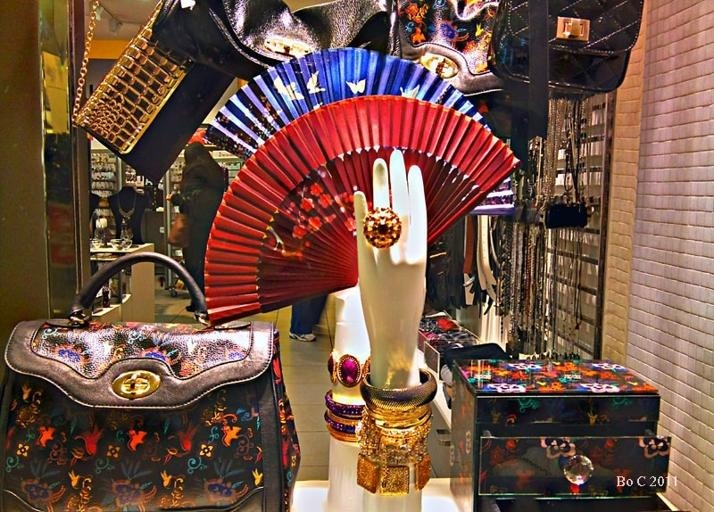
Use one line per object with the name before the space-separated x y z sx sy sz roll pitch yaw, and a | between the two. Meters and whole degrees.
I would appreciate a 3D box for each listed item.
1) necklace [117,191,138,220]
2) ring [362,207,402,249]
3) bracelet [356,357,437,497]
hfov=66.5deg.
necklace | -0.563 -0.123 1.336 0.043 0.075 0.016 2 2 13
ring | 0.037 -0.057 0.903 0.019 0.067 0.066 -7 -40 28
bracelet | 0.066 0.314 1.035 0.176 0.264 0.183 2 3 1
